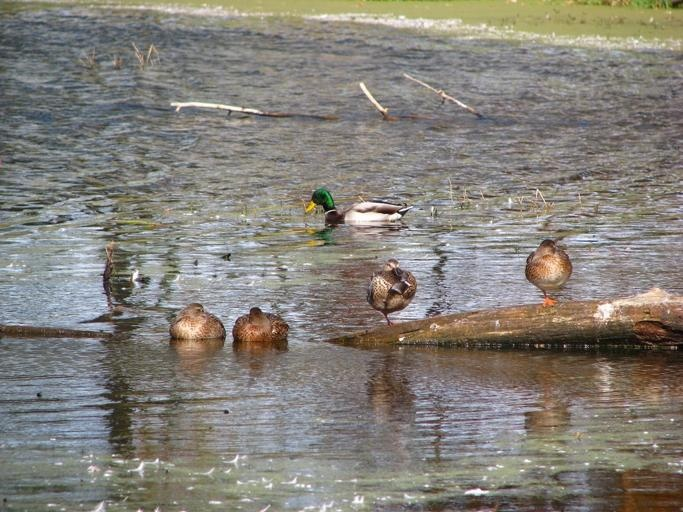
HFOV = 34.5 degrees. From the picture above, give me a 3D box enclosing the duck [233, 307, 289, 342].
[{"bbox_3d":[-1.428,1.207,19.373,1.085,0.550,1.016,-1,15,-1],"label":"duck"}]
